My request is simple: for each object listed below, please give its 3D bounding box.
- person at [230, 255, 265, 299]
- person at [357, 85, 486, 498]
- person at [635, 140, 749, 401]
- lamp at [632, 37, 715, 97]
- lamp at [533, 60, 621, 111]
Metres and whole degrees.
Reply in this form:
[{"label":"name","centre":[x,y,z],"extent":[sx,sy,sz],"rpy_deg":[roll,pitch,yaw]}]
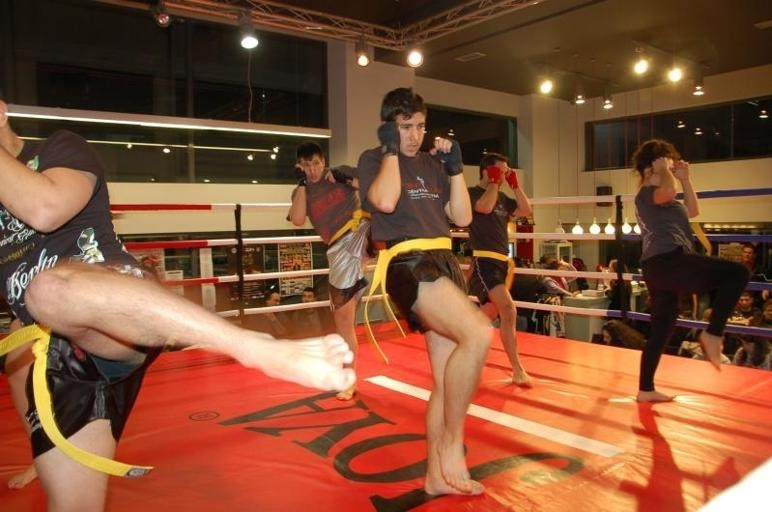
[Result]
[{"label":"person","centre":[-2.021,0.288,7.645],"extent":[0.184,0.729,0.511],"rpy_deg":[-15,-11,43]},{"label":"person","centre":[0.230,0.161,2.915],"extent":[0.606,2.174,0.809],"rpy_deg":[-4,11,-19]},{"label":"person","centre":[2.169,0.099,3.807],"extent":[0.632,1.865,0.736],"rpy_deg":[1,10,11]},{"label":"lamp","centre":[5.410,-3.697,10.035],"extent":[1.500,0.364,1.076],"rpy_deg":[9,-17,-31]},{"label":"lamp","centre":[4.224,-3.703,11.652],"extent":[1.636,0.707,3.321],"rpy_deg":[3,11,22]}]
